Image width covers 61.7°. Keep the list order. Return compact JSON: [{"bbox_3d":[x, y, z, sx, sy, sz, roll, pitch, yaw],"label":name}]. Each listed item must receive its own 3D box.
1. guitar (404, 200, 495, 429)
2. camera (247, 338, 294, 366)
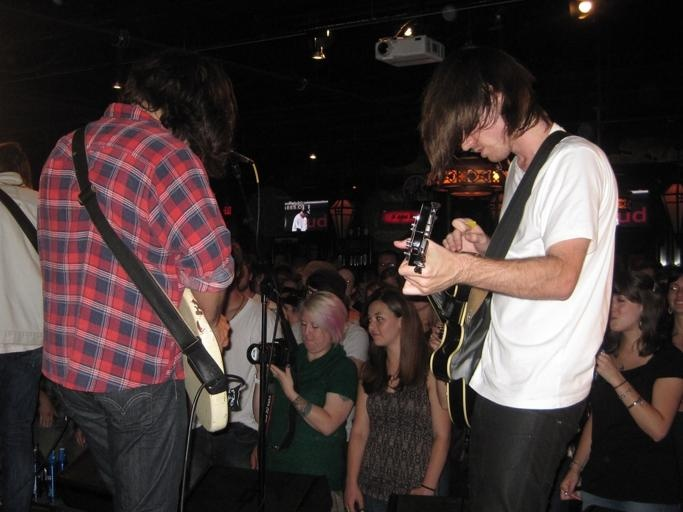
[{"bbox_3d":[0.489,0.356,2.722,0.201,0.670,1.548,14,-15,23],"label":"guitar"},{"bbox_3d":[-0.373,0.521,3.079,0.183,0.111,0.175,4,-3,-34],"label":"camera"}]
